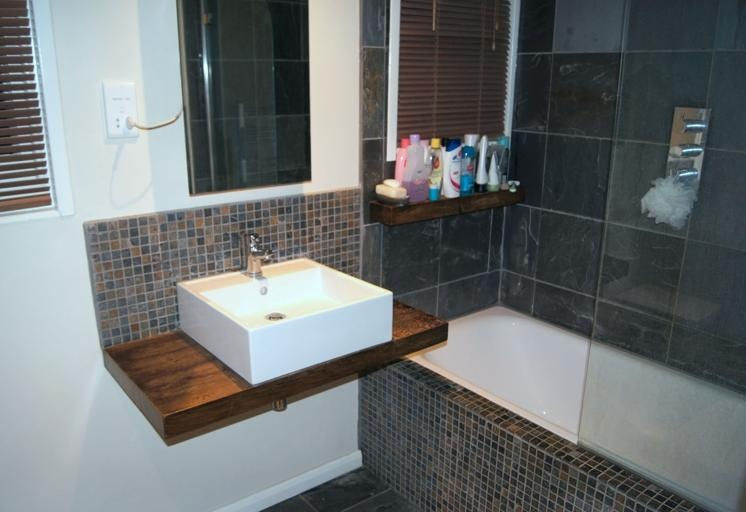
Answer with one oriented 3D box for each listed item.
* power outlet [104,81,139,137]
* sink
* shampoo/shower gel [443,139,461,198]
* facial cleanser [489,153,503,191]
[{"bbox_3d":[-0.976,-0.566,2.175,0.039,0.190,0.151,21,21,31],"label":"power outlet"},{"bbox_3d":[-0.377,0.234,2.385,0.754,0.301,0.572,-16,23,-30],"label":"sink"},{"bbox_3d":[0.430,-0.473,3.036,0.113,0.300,0.108,-5,20,-2],"label":"shampoo/shower gel"},{"bbox_3d":[0.709,-0.483,3.226,0.056,0.192,0.151,12,25,37],"label":"facial cleanser"}]
